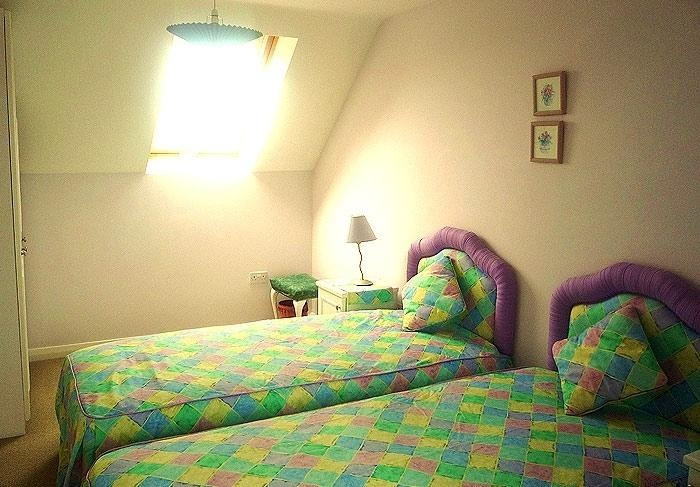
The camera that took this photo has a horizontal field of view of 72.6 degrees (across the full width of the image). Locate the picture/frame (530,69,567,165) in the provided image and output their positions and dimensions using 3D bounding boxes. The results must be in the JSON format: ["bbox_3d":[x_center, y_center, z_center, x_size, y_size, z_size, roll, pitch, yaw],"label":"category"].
[{"bbox_3d":[1.263,-0.798,3.043,0.042,0.581,0.232,-4,5,-31],"label":"picture/frame"}]

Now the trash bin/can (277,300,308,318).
[{"bbox_3d":[-0.631,0.682,5.107,0.220,0.210,0.224,0,13,-11],"label":"trash bin/can"}]

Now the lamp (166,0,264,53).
[{"bbox_3d":[-0.793,-1.228,2.775,0.372,0.171,0.348,2,17,-1],"label":"lamp"}]
